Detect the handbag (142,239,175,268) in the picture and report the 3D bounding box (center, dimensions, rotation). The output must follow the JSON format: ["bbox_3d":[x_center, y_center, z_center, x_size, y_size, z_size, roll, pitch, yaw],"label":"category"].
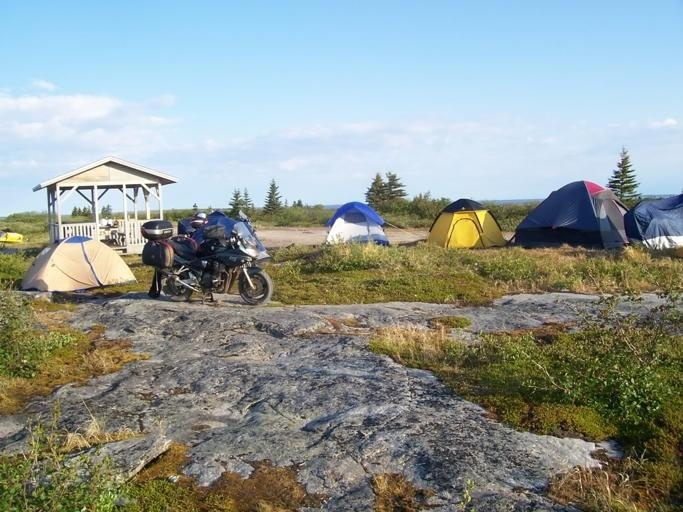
[{"bbox_3d":[-3.838,-0.059,11.550,0.727,0.525,0.249,8,7,27],"label":"handbag"}]

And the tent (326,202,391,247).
[{"bbox_3d":[0.547,-1.655,22.755,2.677,1.401,3.156,-2,19,0],"label":"tent"}]

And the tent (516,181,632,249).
[{"bbox_3d":[8.612,-1.524,20.337,3.619,2.425,1.729,3,13,24],"label":"tent"}]
